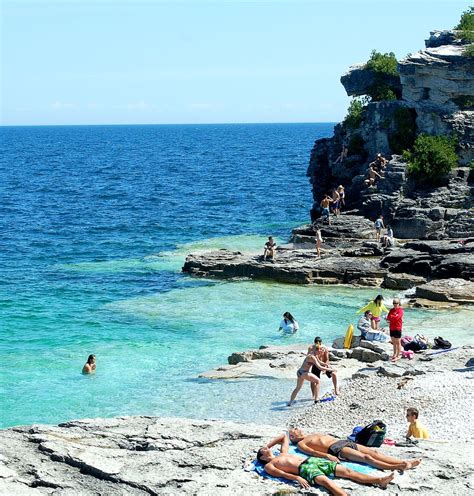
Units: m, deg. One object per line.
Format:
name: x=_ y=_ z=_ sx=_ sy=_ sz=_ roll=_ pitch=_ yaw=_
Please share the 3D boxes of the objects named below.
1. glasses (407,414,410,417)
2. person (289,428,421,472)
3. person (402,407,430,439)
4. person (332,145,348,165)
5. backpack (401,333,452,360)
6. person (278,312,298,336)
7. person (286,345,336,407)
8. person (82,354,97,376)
glasses: x=4.289 y=4.205 z=21.536 sx=0.056 sy=0.047 sz=0.051 roll=-31 pitch=46 yaw=-10
person: x=2.519 y=4.749 z=19.918 sx=2.615 sy=0.493 sz=0.959 roll=13 pitch=7 yaw=22
person: x=4.571 y=4.508 z=21.714 sx=0.671 sy=0.829 sz=0.737 roll=8 pitch=-9 yaw=-29
person: x=7.588 y=-6.518 z=61.523 sx=0.417 sy=1.297 sz=0.918 roll=29 pitch=17 yaw=-43
backpack: x=6.266 y=3.315 z=28.907 sx=1.300 sy=0.307 sz=0.844 roll=-3 pitch=8 yaw=-17
person: x=2.046 y=3.047 z=34.880 sx=0.469 sy=0.910 sz=0.810 roll=-6 pitch=9 yaw=-31
person: x=2.175 y=3.825 z=25.591 sx=0.831 sy=1.922 sz=1.330 roll=-7 pitch=10 yaw=-38
person: x=-5.481 y=4.251 z=31.282 sx=0.419 sy=0.648 sz=0.660 roll=0 pitch=8 yaw=3
